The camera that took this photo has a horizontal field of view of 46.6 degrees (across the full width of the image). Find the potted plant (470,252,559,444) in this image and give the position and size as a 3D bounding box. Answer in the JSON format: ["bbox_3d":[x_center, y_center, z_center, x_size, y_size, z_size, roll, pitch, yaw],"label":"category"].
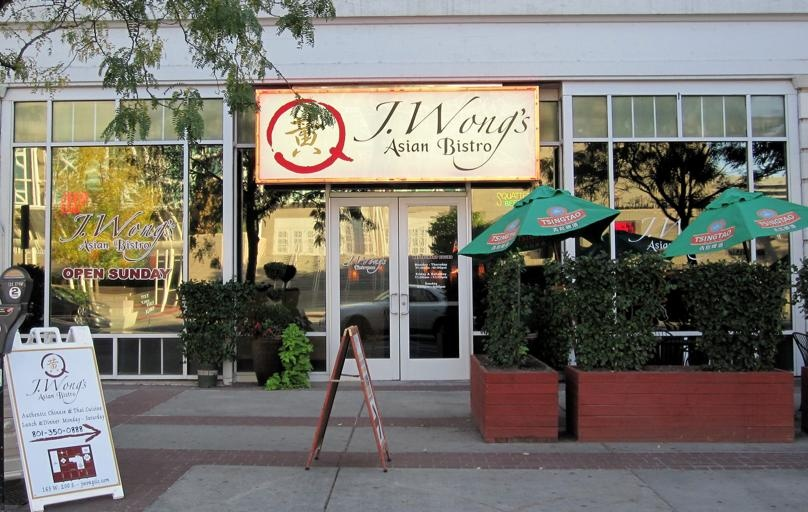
[{"bbox_3d":[1.874,1.500,15.834,1.367,2.921,1.471,0,12,1],"label":"potted plant"}]

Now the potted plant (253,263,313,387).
[{"bbox_3d":[-2.475,1.361,18.937,1.109,2.312,1.147,-2,12,-5],"label":"potted plant"}]

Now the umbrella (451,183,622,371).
[{"bbox_3d":[2.528,0.362,16.781,3.234,2.704,2.750,-4,4,-6],"label":"umbrella"}]

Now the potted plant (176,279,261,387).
[{"bbox_3d":[-3.715,1.512,18.672,2.166,2.465,1.055,1,1,0],"label":"potted plant"}]
